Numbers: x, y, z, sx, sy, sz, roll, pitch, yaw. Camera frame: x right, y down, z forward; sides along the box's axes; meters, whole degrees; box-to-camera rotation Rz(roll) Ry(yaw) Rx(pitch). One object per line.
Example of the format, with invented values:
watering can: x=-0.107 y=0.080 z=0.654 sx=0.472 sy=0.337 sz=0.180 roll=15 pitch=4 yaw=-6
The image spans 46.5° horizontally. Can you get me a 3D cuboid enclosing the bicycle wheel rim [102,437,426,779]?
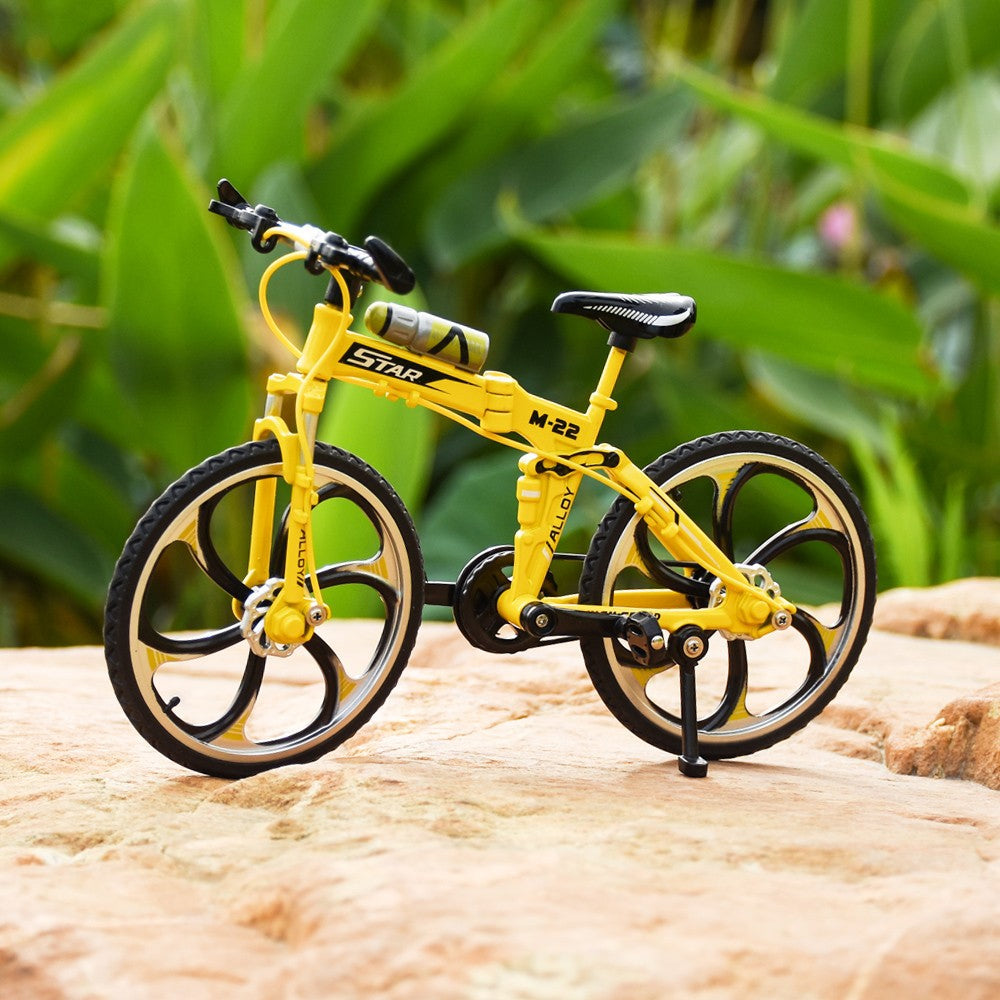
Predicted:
bicycle wheel rim: x=-0.349 y=0.175 z=1.767 sx=0.063 sy=0.504 sz=0.598 roll=7 pitch=8 yaw=42
